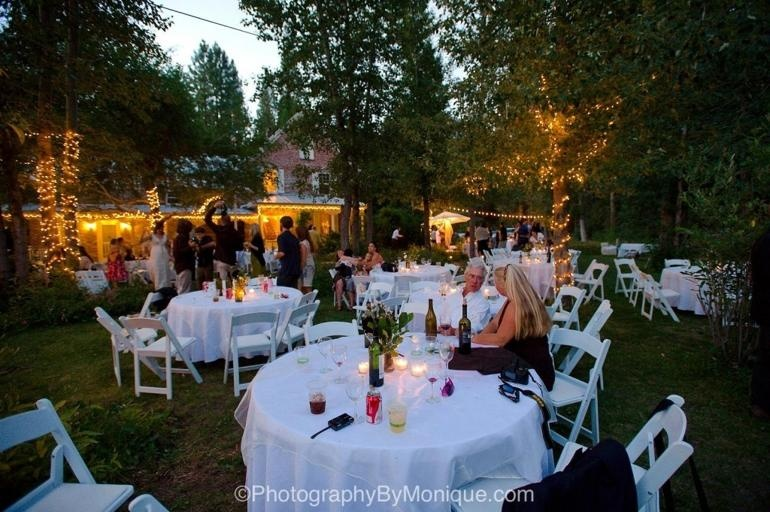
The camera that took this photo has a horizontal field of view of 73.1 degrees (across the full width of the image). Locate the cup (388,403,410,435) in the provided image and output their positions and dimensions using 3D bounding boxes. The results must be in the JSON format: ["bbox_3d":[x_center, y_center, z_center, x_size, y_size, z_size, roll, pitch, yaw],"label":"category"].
[{"bbox_3d":[0.166,2.080,6.695,0.311,0.306,0.327,0,-1,0],"label":"cup"}]

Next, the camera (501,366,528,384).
[{"bbox_3d":[1.790,1.651,7.160,0.286,0.232,0.220,-1,0,19],"label":"camera"}]

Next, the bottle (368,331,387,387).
[{"bbox_3d":[-0.116,1.446,7.215,0.250,0.715,0.192,-2,6,-17],"label":"bottle"}]

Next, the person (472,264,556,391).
[{"bbox_3d":[2.038,1.086,8.026,1.091,1.927,0.902,2,6,26],"label":"person"}]

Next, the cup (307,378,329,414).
[{"bbox_3d":[-0.887,1.876,6.935,0.354,0.488,0.337,-1,-4,0],"label":"cup"}]

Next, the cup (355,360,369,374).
[{"bbox_3d":[-0.325,1.584,7.452,0.152,0.151,0.279,-1,5,-8],"label":"cup"}]

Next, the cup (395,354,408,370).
[{"bbox_3d":[0.235,1.543,7.570,0.203,0.165,0.213,-1,-1,0],"label":"cup"}]

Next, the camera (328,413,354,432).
[{"bbox_3d":[-0.572,2.130,6.685,0.233,0.081,0.175,-13,19,-41],"label":"camera"}]

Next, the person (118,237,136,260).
[{"bbox_3d":[-10.045,-0.284,20.157,0.344,0.417,1.094,4,-14,-7],"label":"person"}]
